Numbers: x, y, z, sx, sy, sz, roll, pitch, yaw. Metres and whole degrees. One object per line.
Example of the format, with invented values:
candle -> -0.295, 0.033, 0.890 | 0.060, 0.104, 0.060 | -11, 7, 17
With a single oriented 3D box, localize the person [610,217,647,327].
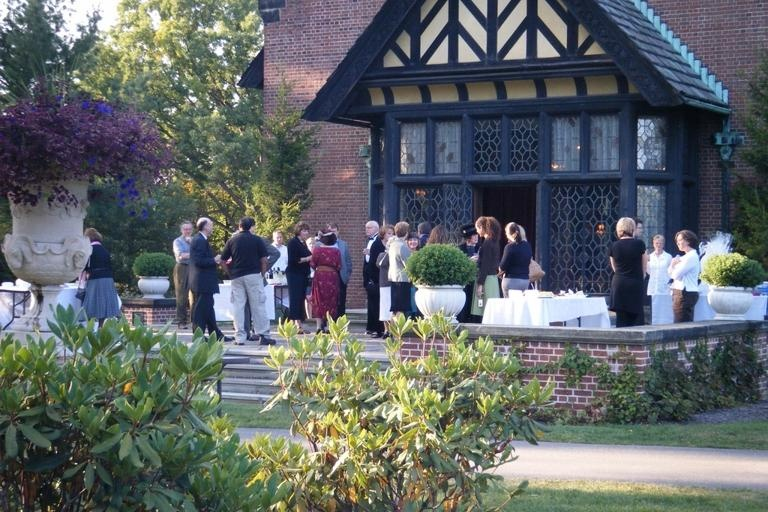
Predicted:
person -> 4.960, 0.303, 34.106 | 0.704, 2.232, 0.580 | 0, -2, 8

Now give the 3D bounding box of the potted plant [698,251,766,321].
potted plant -> 7.402, 0.649, 35.633 | 1.371, 1.675, 1.253 | 1, -5, -3

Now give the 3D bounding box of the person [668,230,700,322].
person -> 6.389, 0.408, 35.527 | 0.621, 1.948, 0.984 | 0, -2, 10

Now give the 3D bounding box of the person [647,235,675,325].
person -> 6.140, 0.590, 37.427 | 0.676, 2.267, 0.719 | -7, -7, 39

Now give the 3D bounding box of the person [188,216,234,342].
person -> -3.769, 0.494, 36.122 | 1.048, 3.496, 1.183 | 0, 0, -25

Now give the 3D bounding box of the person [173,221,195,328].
person -> -4.668, 0.417, 38.335 | 0.645, 2.749, 0.621 | 1, -3, -2

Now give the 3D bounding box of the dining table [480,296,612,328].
dining table -> 3.555, 1.111, 34.225 | 1.792, 0.529, 1.095 | 4, -7, -39

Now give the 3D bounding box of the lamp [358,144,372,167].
lamp -> -0.551, -2.691, 43.519 | 0.210, 0.608, 0.657 | 0, -2, -12
